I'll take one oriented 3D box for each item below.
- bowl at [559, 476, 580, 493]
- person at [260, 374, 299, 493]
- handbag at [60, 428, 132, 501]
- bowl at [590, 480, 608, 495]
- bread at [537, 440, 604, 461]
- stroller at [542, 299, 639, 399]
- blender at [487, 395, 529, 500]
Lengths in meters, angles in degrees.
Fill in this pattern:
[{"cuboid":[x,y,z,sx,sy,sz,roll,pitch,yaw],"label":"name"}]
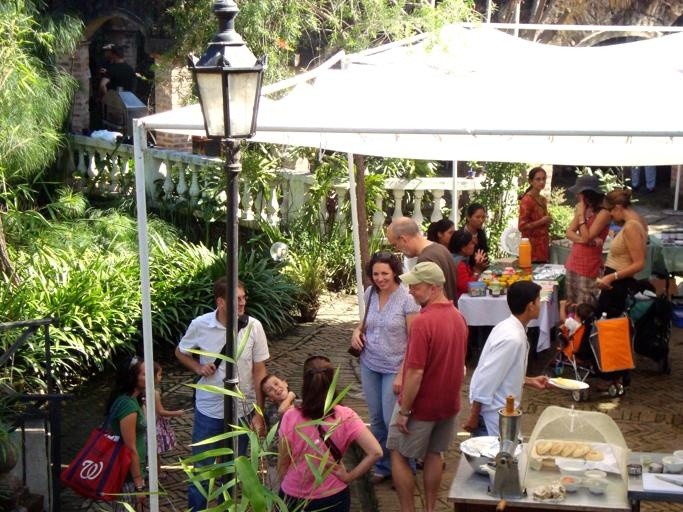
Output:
[{"cuboid":[1.404,1.417,4.257,0.095,0.063,0.097,-3,-1,0],"label":"bowl"},{"cuboid":[-0.510,1.345,5.550,0.206,0.788,0.265,5,27,8],"label":"person"},{"cuboid":[-1.877,1.603,5.290,0.492,0.502,0.178,3,3,11],"label":"handbag"},{"cuboid":[1.577,1.437,4.264,0.111,0.071,0.079,3,3,18],"label":"bowl"},{"cuboid":[1.493,1.288,4.565,0.291,0.044,0.173,2,18,8],"label":"bread"},{"cuboid":[2.801,1.063,7.686,0.852,1.077,0.714,5,4,36],"label":"stroller"},{"cuboid":[1.030,1.212,4.213,0.212,0.686,0.196,1,3,10],"label":"blender"}]
